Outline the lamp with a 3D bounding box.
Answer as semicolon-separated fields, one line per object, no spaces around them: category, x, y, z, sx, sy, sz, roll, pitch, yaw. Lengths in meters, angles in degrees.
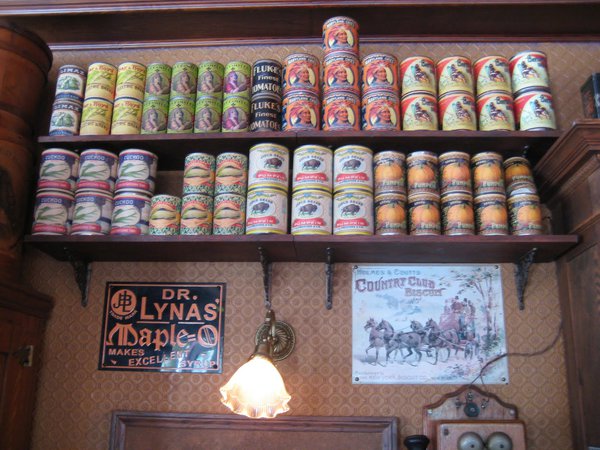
lamp;-0.181;0.651;2.638;0.289;0.510;0.416;-2;-28;3
